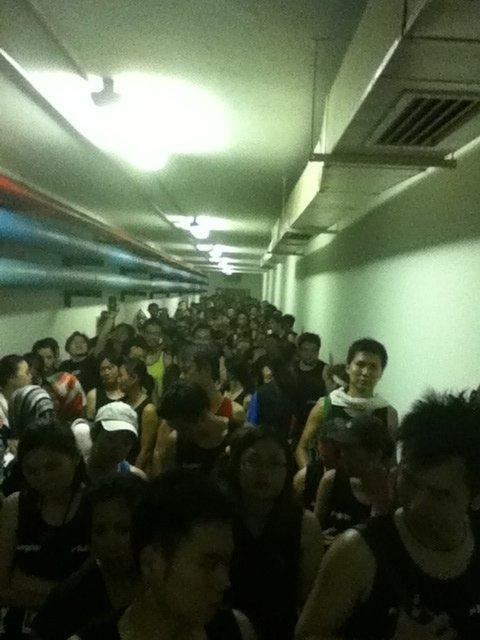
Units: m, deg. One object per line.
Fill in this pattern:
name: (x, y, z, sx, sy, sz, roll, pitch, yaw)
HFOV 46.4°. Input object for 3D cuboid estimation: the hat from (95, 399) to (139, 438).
hat: (-0.405, 0.329, 1.851, 0.111, 0.077, 0.137, 22, -22, -21)

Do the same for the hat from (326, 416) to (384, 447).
hat: (0.357, 0.335, 1.708, 0.141, 0.058, 0.086, 2, 5, 5)
